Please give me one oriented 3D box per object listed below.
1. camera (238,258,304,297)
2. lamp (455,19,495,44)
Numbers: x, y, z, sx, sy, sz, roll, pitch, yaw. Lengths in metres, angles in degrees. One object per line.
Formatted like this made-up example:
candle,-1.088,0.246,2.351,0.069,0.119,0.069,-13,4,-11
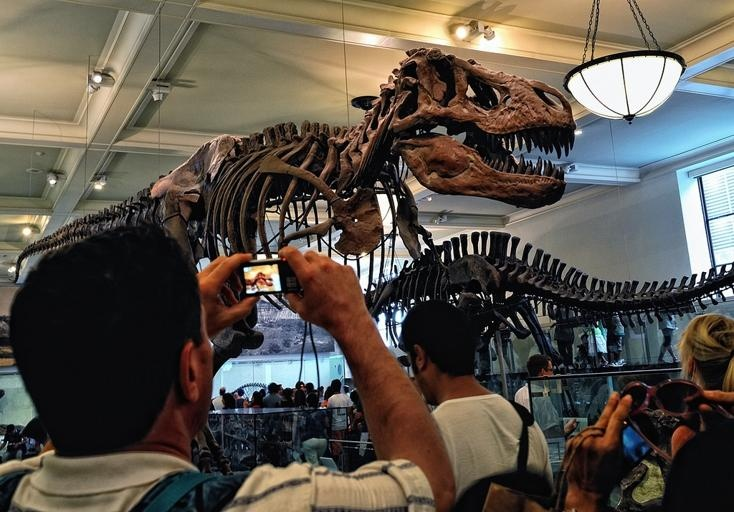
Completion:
camera,-0.241,0.056,1.274,0.152,0.082,0.151,0,-1,9
lamp,1.215,-2.525,5.646,0.279,0.126,0.366,5,10,20
